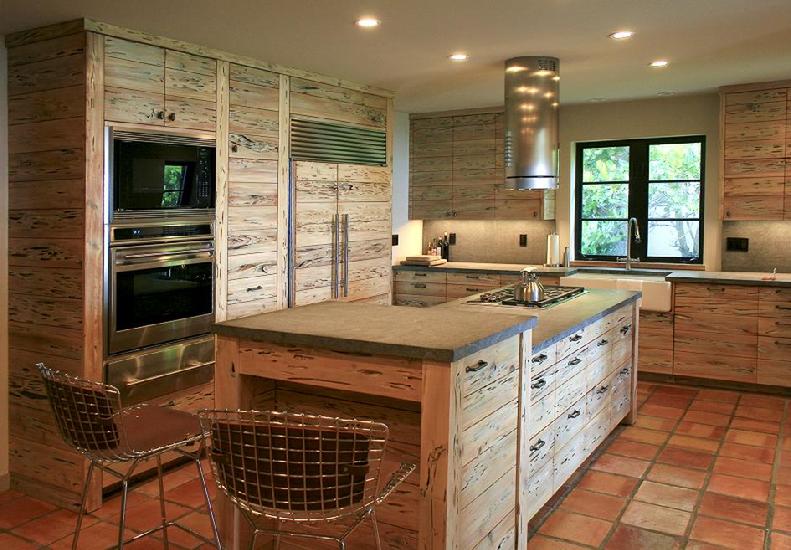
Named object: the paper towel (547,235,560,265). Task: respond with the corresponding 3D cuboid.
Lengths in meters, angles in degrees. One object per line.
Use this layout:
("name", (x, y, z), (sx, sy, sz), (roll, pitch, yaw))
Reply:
("paper towel", (1.964, -0.294, 6.770), (0.164, 0.376, 0.298), (1, 10, 16))

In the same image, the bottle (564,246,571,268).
("bottle", (2.128, -0.219, 6.772), (0.092, 0.242, 0.157), (0, 10, 14))

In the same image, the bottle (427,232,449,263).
("bottle", (0.615, -0.360, 7.523), (0.311, 0.373, 0.242), (-1, 10, 3))

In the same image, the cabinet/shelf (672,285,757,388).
("cabinet/shelf", (3.251, 0.587, 5.557), (0.771, 0.966, 0.182), (1, 12, 17))

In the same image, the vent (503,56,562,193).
("vent", (1.169, -1.275, 4.671), (0.434, 1.073, 0.131), (-2, 11, 2))
